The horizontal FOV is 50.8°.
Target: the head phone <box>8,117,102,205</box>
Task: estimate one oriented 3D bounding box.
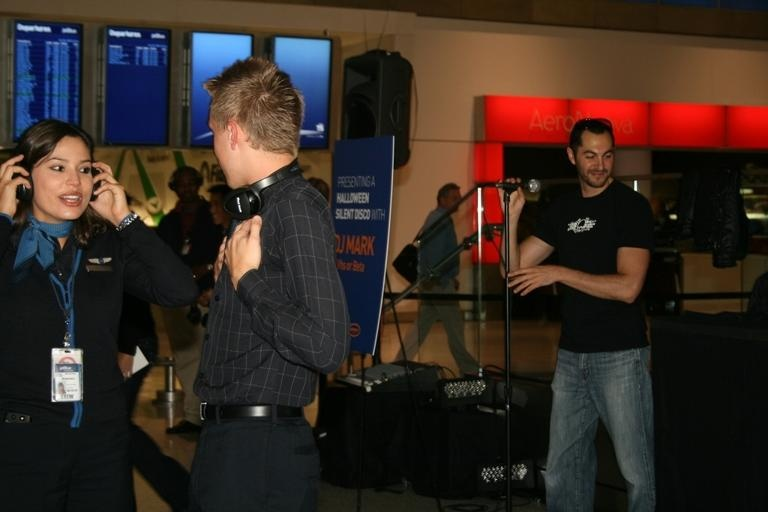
[{"bbox_3d":[-1.643,-0.507,3.907,0.235,0.216,0.176,15,20,-18],"label":"head phone"}]

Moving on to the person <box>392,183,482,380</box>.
[{"bbox_3d":[0.434,0.301,6.109,0.574,1.256,0.842,1,6,3],"label":"person"}]

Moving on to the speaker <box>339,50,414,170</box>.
[{"bbox_3d":[-0.070,-1.058,5.753,0.415,0.736,0.515,-7,12,-38],"label":"speaker"}]

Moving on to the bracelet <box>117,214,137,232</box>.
[{"bbox_3d":[-1.261,-0.170,3.964,0.087,0.026,0.079,-36,1,27],"label":"bracelet"}]

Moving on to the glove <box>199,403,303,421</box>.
[{"bbox_3d":[-0.586,0.678,3.516,0.200,0.052,0.179,5,-6,-42],"label":"glove"}]
